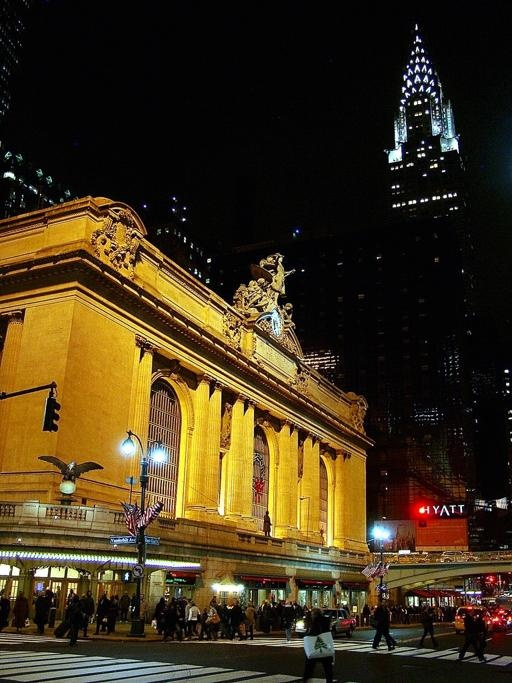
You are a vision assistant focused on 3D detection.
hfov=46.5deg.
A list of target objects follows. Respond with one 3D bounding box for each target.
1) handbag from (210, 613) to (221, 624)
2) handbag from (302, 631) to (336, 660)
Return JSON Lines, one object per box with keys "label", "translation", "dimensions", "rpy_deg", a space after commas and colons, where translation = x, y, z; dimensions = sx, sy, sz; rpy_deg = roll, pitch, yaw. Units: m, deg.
{"label": "handbag", "translation": [-1.688, 11.691, 25.068], "dimensions": [0.415, 0.430, 0.412], "rpy_deg": [9, -12, -43]}
{"label": "handbag", "translation": [0.883, 4.316, 8.430], "dimensions": [0.491, 0.349, 0.298], "rpy_deg": [5, -22, -13]}
